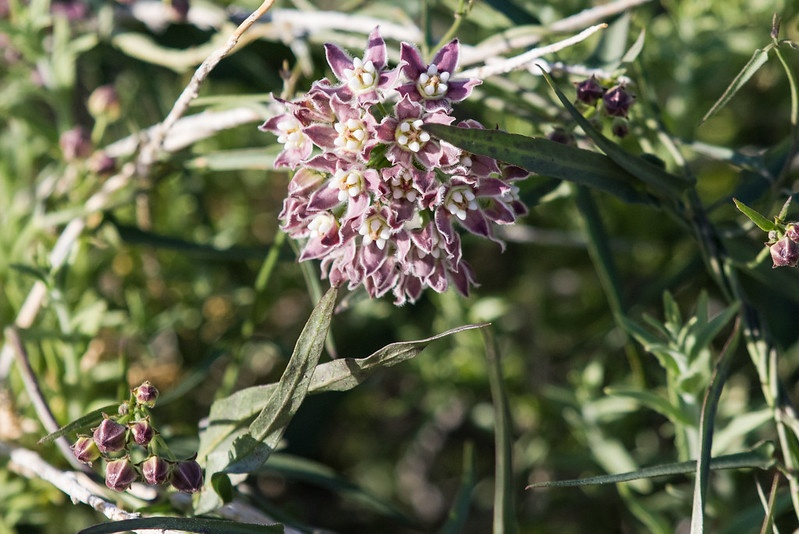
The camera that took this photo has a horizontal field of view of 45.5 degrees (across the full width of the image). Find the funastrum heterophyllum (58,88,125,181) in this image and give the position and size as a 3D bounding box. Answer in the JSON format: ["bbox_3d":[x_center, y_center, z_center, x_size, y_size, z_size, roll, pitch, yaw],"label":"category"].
[{"bbox_3d":[-0.898,-0.387,2.805,0.177,0.232,0.274,-17,10,-1],"label":"funastrum heterophyllum"}]

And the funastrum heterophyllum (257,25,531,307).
[{"bbox_3d":[-0.002,-0.214,2.445,0.627,0.611,0.265,-56,2,5],"label":"funastrum heterophyllum"}]

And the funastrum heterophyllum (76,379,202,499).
[{"bbox_3d":[-0.677,0.456,2.484,0.292,0.258,0.314,-20,11,-8],"label":"funastrum heterophyllum"}]

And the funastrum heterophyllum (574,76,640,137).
[{"bbox_3d":[0.542,-0.417,2.477,0.146,0.176,0.195,-15,11,15],"label":"funastrum heterophyllum"}]
